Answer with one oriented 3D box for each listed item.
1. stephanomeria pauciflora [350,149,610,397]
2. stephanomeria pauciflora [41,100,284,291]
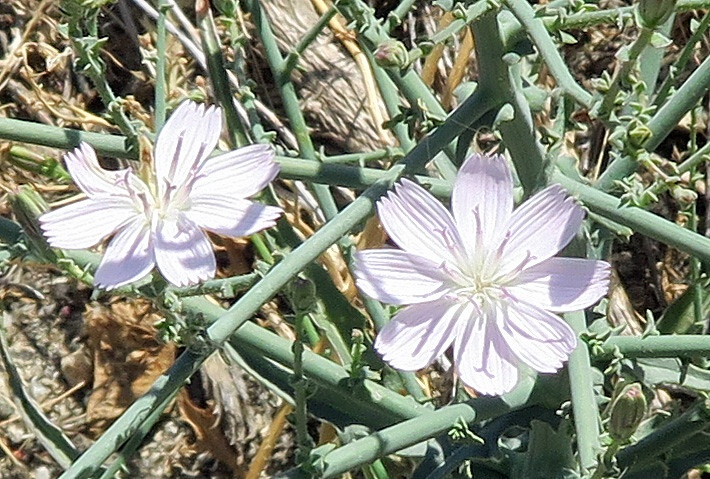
[{"bbox_3d":[0.203,0.051,1.295,0.392,0.116,0.406,-35,56,-29],"label":"stephanomeria pauciflora"},{"bbox_3d":[-0.307,-0.052,1.353,0.300,0.093,0.310,-17,68,3],"label":"stephanomeria pauciflora"}]
